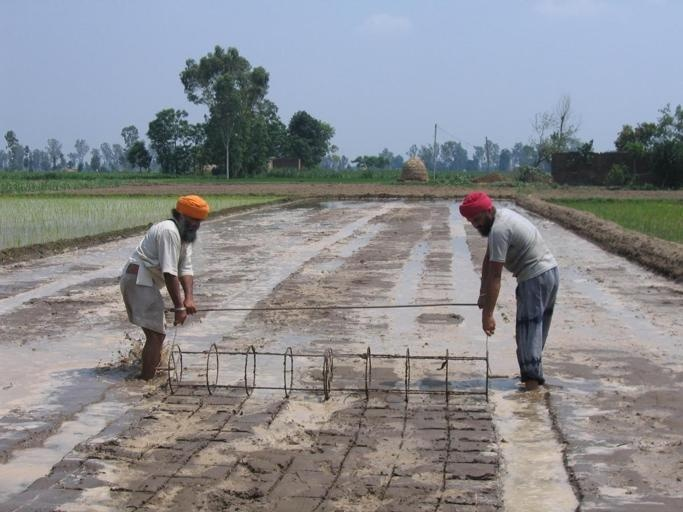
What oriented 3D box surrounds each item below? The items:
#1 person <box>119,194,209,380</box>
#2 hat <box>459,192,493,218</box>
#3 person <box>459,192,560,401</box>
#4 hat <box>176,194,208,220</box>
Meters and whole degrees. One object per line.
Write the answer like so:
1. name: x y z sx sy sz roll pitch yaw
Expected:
1. person: -2.044 0.370 9.547 0.999 2.140 0.882 -3 13 -15
2. hat: 1.505 -0.556 9.110 0.370 0.314 0.348 2 13 8
3. person: 1.896 0.400 9.151 1.042 2.190 0.590 2 13 9
4. hat: -1.686 -0.569 9.375 0.360 0.210 0.272 25 13 14
